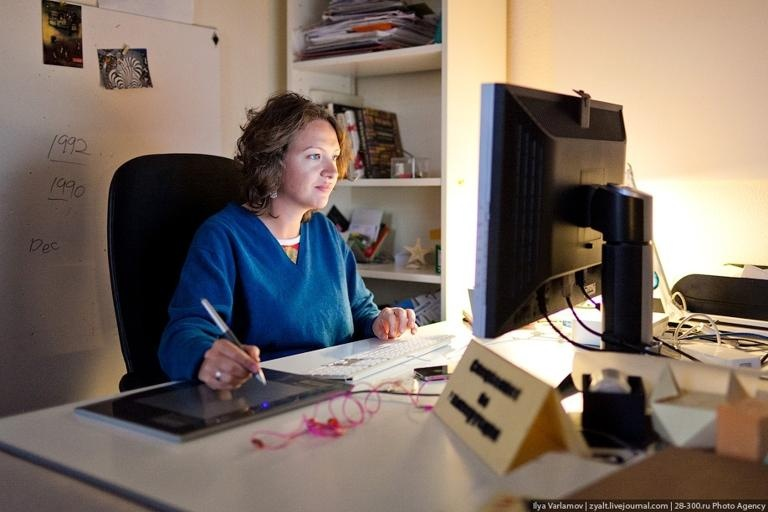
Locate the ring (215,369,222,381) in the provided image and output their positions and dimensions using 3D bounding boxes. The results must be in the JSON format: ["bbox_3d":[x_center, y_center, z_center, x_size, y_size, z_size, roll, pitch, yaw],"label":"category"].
[{"bbox_3d":[-0.370,0.268,1.305,0.014,0.018,0.006,-3,-12,28],"label":"ring"}]

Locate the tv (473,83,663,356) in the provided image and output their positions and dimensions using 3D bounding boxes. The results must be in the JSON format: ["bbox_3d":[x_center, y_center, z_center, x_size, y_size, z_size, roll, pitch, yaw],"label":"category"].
[{"bbox_3d":[0.533,-0.097,1.461,0.313,0.597,0.703,6,11,38],"label":"tv"}]

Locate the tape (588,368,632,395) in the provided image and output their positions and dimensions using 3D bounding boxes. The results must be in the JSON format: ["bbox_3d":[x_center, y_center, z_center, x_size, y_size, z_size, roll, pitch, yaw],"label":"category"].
[{"bbox_3d":[0.401,0.216,1.023,0.047,0.043,0.050,1,-3,22],"label":"tape"}]

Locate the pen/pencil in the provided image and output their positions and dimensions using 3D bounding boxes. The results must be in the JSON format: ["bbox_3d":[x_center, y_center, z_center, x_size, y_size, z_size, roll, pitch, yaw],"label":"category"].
[{"bbox_3d":[-0.373,0.209,1.437,0.026,0.230,0.018,-36,8,23],"label":"pen/pencil"}]
